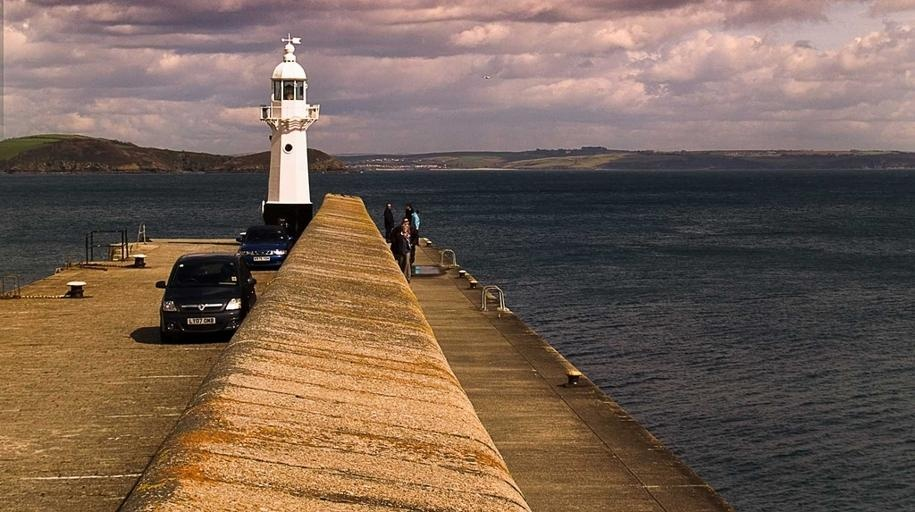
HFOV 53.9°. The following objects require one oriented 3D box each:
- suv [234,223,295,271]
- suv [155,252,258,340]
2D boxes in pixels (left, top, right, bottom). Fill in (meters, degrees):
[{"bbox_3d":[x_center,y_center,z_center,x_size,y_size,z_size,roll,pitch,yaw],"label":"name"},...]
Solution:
[{"bbox_3d":[-9.834,-0.762,45.887,2.734,1.330,4.832,0,16,-8],"label":"suv"},{"bbox_3d":[-9.260,1.612,33.069,3.194,3.036,2.179,1,12,-15],"label":"suv"}]
